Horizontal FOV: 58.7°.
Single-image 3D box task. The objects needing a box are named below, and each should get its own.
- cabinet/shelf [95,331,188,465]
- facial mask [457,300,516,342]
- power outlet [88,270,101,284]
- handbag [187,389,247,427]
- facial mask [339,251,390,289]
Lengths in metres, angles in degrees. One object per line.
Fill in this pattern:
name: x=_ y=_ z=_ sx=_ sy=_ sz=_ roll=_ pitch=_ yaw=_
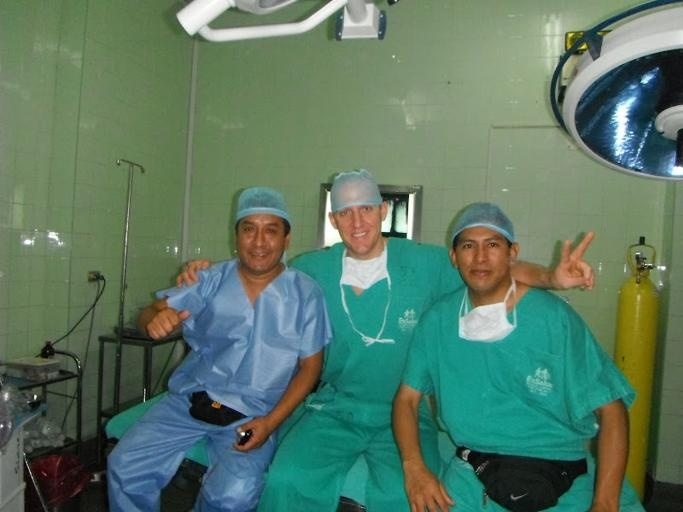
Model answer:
cabinet/shelf: x=-1.457 y=0.851 z=4.200 sx=0.399 sy=0.949 sz=0.687 roll=3 pitch=6 yaw=14
facial mask: x=0.648 y=0.291 z=2.738 sx=0.209 sy=0.184 sz=0.151 roll=10 pitch=7 yaw=36
power outlet: x=-1.706 y=0.138 z=4.189 sx=0.062 sy=0.080 sz=0.113 roll=1 pitch=1 yaw=18
handbag: x=-0.617 y=0.732 z=2.902 sx=0.307 sy=0.161 sz=0.083 roll=1 pitch=1 yaw=17
facial mask: x=0.117 y=0.073 z=3.103 sx=0.180 sy=0.193 sz=0.069 roll=-1 pitch=-3 yaw=9
